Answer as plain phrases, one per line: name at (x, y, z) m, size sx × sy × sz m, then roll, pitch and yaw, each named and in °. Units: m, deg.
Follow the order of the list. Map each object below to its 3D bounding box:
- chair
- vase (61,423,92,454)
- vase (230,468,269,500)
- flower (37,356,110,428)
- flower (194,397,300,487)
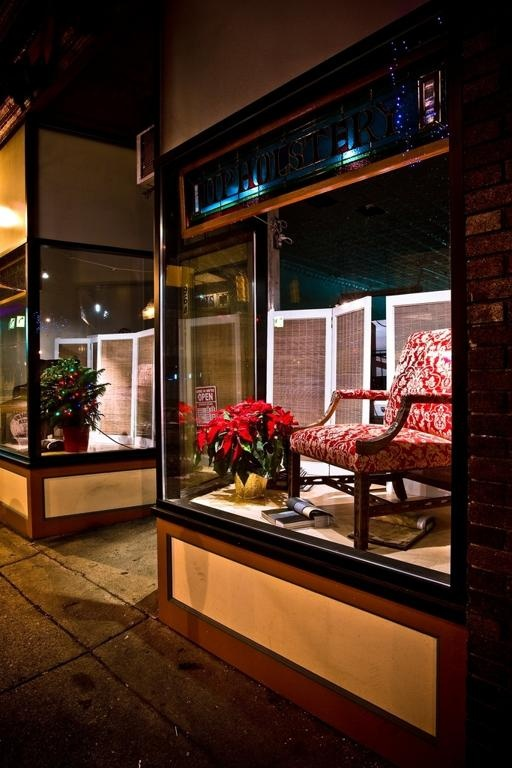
chair at (0.544, 0.167, 2.312) m, size 0.636 × 0.810 × 0.569 m, roll 0°, pitch 2°, yaw -17°
vase at (-1.273, 0.381, 3.884) m, size 0.182 × 0.176 × 0.171 m, roll 1°, pitch -1°, yaw 26°
vase at (-0.026, 0.495, 2.737) m, size 0.138 × 0.114 × 0.131 m, roll 1°, pitch -3°, yaw -20°
flower at (-1.298, 0.062, 4.006) m, size 0.169 × 0.516 × 0.534 m, roll 1°, pitch 3°, yaw 39°
flower at (-0.054, 0.266, 2.691) m, size 0.408 × 0.286 × 0.412 m, roll -1°, pitch -3°, yaw 26°
